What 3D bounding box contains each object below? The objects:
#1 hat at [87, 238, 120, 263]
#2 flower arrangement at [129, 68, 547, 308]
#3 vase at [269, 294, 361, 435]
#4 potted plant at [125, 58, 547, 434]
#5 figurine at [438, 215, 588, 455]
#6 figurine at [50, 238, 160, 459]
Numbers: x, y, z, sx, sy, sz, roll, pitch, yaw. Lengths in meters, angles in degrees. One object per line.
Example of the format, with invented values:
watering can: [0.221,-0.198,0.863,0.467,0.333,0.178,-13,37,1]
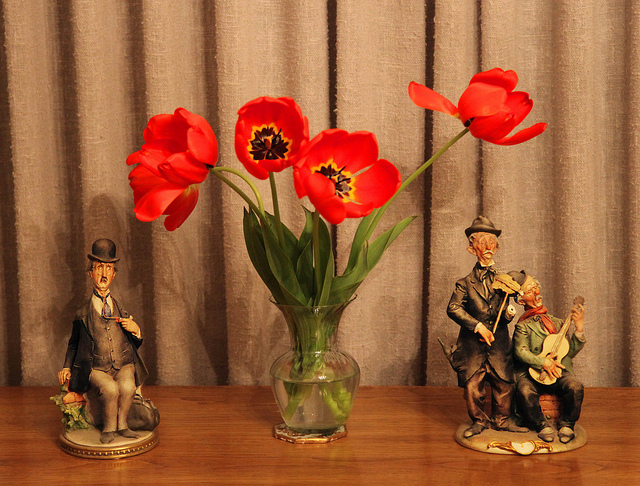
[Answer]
hat: [-0.412,0.018,2.206,0.047,0.030,0.046,13,-2,6]
flower arrangement: [0.018,-0.113,2.246,0.763,0.446,0.480,-1,10,-9]
vase: [-0.008,0.252,2.277,0.139,0.282,0.142,-2,6,-22]
potted plant: [-0.001,0.027,2.269,0.792,0.700,0.518,5,1,0]
figurine: [0.370,0.174,2.236,0.299,0.425,0.251,3,5,9]
figurine: [-0.407,0.197,2.214,0.217,0.397,0.187,0,7,-11]
